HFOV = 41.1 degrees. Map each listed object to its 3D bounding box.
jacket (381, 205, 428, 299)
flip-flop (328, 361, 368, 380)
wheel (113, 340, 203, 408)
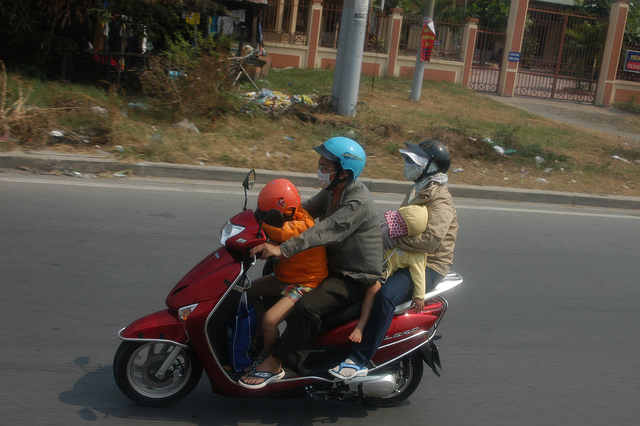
[{"bbox_3d":[1.003,0.447,9.933,0.683,1.049,0.446,2,0,-13],"label":"jacket"},{"bbox_3d":[0.330,1.736,9.449,0.372,0.111,0.184,2,1,-4],"label":"flip-flop"},{"bbox_3d":[-1.799,1.764,9.470,1.001,0.835,0.242,-1,0,1],"label":"wheel"}]
